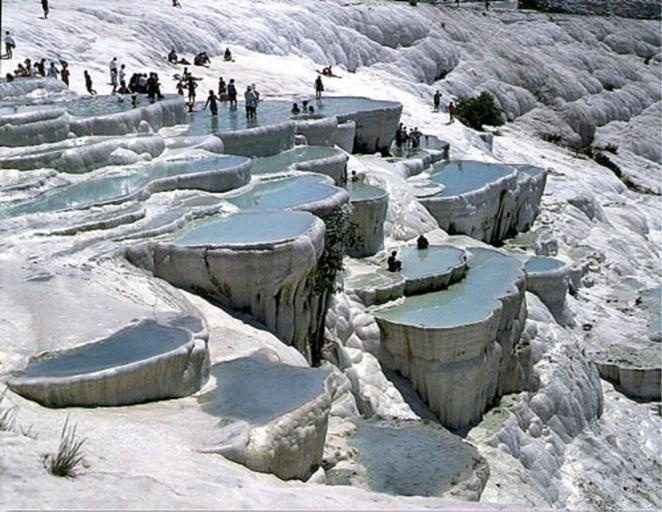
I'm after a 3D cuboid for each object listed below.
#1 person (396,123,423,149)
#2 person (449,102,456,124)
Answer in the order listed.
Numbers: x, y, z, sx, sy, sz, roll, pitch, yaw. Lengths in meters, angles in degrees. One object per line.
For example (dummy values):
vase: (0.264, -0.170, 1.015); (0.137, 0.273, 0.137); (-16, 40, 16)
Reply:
person: (2.908, -4.318, 24.840); (0.723, 0.757, 1.246); (4, 11, 43)
person: (5.141, -6.123, 29.302); (0.241, 0.759, 1.073); (3, 21, 10)
